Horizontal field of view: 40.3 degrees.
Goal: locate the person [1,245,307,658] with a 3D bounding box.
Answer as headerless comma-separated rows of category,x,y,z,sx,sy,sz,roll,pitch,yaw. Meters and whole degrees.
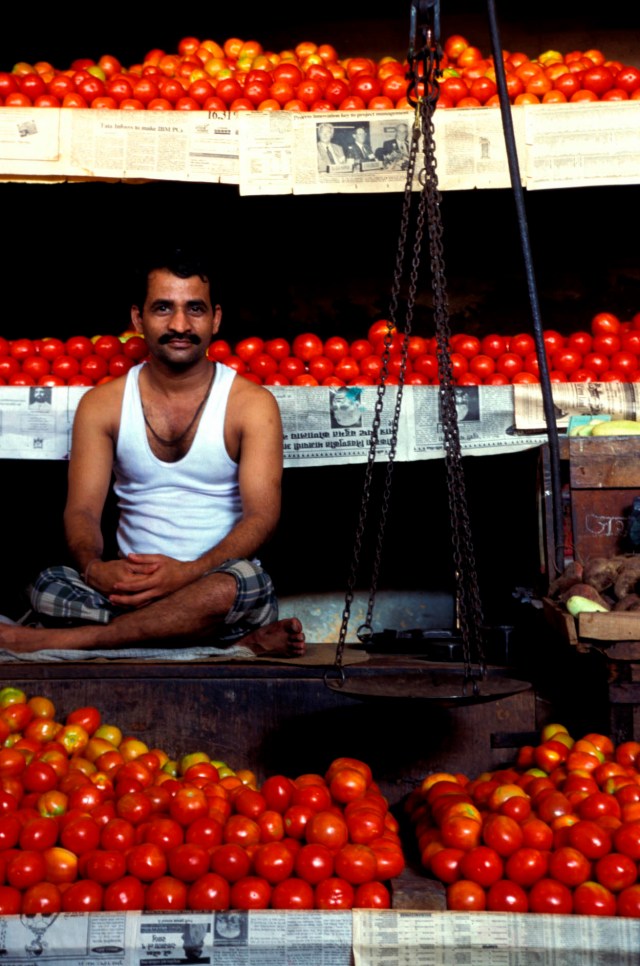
person,-0.402,-0.095,2.219,0.688,0.828,0.947,1,27,-6
